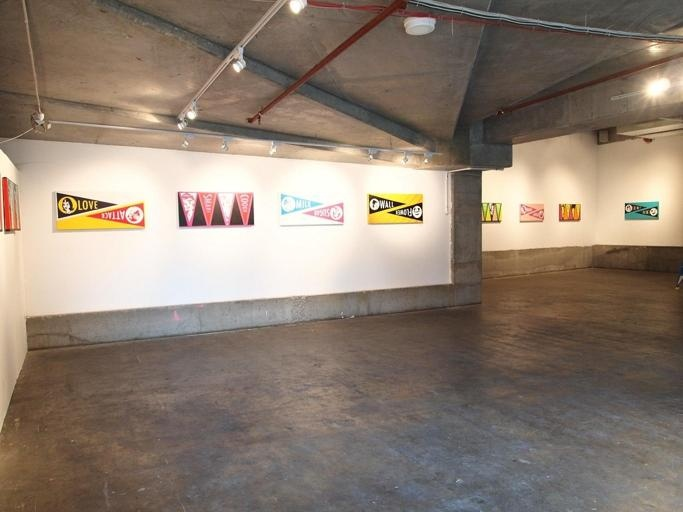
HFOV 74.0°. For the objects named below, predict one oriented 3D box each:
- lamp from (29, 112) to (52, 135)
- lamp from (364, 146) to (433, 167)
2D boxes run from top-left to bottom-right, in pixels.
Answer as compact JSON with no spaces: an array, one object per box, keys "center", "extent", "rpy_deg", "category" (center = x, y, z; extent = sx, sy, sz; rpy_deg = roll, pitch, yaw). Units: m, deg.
[{"center":[-4.290,-1.907,6.462],"extent":[0.172,0.211,0.207],"rpy_deg":[-3,10,1],"category":"lamp"},{"center":[1.220,-2.154,9.822],"extent":[1.689,0.289,0.614],"rpy_deg":[-4,8,-24],"category":"lamp"}]
